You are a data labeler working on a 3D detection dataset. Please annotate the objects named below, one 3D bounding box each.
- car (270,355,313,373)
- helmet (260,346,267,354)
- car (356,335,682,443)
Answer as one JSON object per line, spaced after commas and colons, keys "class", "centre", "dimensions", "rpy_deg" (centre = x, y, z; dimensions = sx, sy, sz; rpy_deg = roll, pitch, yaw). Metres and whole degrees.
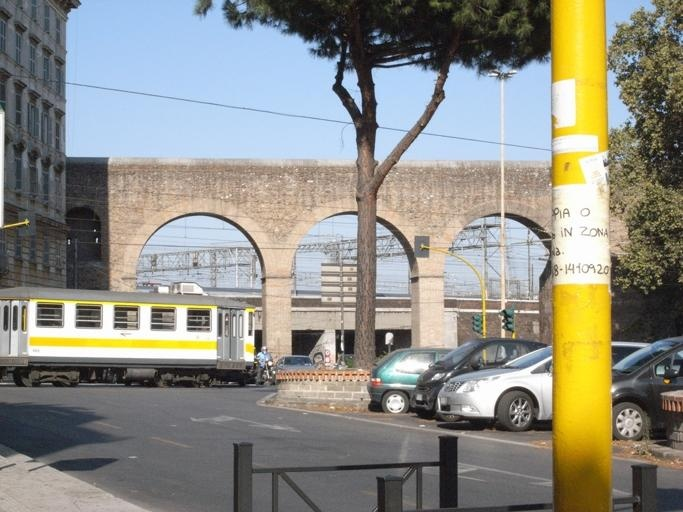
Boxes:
{"class": "car", "centre": [-1.998, 4.601, 56.585], "dimensions": [0.879, 0.664, 1.953], "rpy_deg": [1, 3, -21]}
{"class": "helmet", "centre": [-3.513, 4.283, 60.532], "dimensions": [0.253, 0.351, 0.340], "rpy_deg": [2, -13, -11]}
{"class": "car", "centre": [5.596, 3.322, 33.435], "dimensions": [5.648, 2.576, 2.454], "rpy_deg": [-3, -9, 25]}
